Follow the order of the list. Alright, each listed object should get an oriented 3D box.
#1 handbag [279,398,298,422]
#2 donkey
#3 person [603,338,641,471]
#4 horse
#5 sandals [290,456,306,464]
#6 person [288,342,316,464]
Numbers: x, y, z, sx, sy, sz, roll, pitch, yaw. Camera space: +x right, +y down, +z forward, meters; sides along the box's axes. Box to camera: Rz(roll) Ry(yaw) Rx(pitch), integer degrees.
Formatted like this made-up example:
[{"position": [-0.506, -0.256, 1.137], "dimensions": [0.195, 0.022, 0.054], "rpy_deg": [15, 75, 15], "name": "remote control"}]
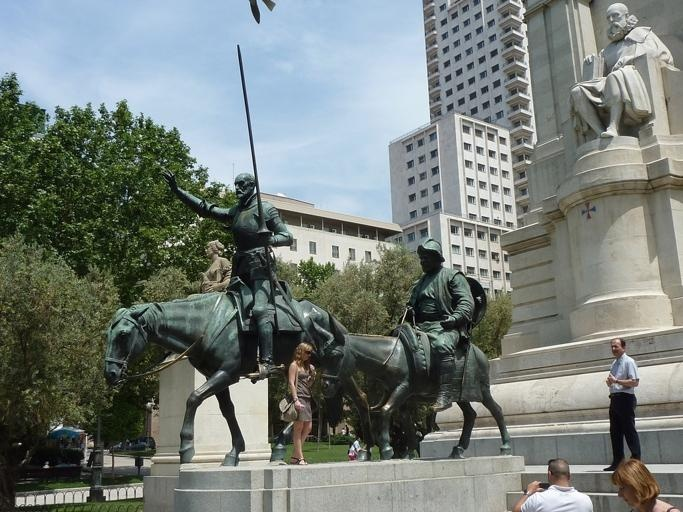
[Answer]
[{"position": [-1.047, 3.074, 17.077], "dimensions": [0.295, 0.501, 0.581], "rpy_deg": [0, -18, -13], "name": "handbag"}, {"position": [1.635, 2.901, 18.355], "dimensions": [4.397, 2.993, 1.359], "rpy_deg": [6, -17, -21], "name": "donkey"}, {"position": [5.692, 3.061, 17.491], "dimensions": [0.665, 2.638, 0.916], "rpy_deg": [0, -18, -11], "name": "person"}, {"position": [-1.965, 2.539, 17.792], "dimensions": [5.794, 3.791, 1.661], "rpy_deg": [2, -8, -30], "name": "horse"}, {"position": [-0.853, 4.080, 16.908], "dimensions": [0.256, 0.099, 0.148], "rpy_deg": [-5, -8, 22], "name": "sandals"}, {"position": [-0.782, 2.878, 17.116], "dimensions": [0.339, 2.543, 0.448], "rpy_deg": [2, -4, -30], "name": "person"}]
